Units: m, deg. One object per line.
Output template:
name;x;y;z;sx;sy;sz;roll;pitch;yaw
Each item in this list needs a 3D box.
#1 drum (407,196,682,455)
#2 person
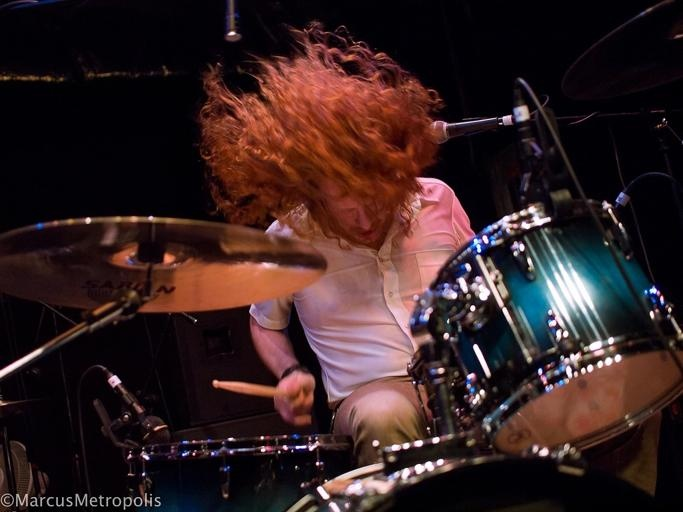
drum;0.531;0.200;1.777;0.708;0.576;0.442;-6;44;-9
person;0.110;0.118;2.600;0.993;1.841;0.917;-14;24;-1
